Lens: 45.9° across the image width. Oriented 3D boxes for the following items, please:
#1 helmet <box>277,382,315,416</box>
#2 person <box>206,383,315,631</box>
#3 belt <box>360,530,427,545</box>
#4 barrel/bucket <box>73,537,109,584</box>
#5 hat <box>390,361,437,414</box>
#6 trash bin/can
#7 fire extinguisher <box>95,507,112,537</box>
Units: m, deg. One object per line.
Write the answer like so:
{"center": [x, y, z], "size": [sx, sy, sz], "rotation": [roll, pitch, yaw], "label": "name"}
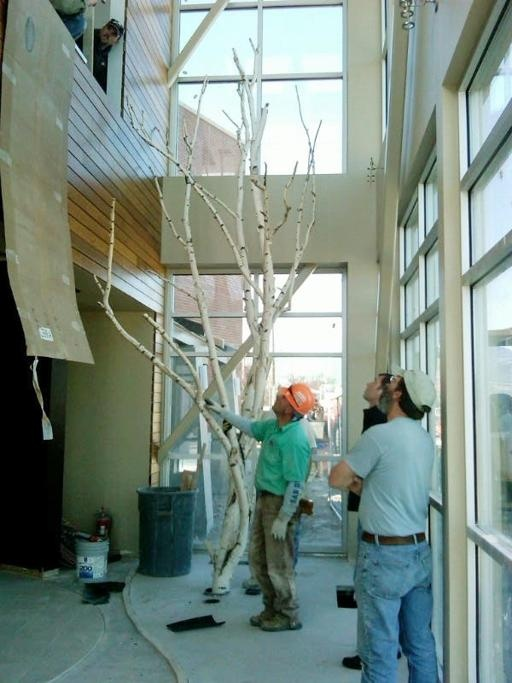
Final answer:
{"center": [0.245, 0.376, 3.857], "size": [0.211, 0.207, 0.222], "rotation": [1, -8, 2], "label": "helmet"}
{"center": [0.111, 1.063, 3.916], "size": [0.624, 1.542, 0.367], "rotation": [-6, -11, 40], "label": "person"}
{"center": [0.496, 0.727, 2.217], "size": [0.231, 0.041, 0.122], "rotation": [-1, -9, 12], "label": "belt"}
{"center": [-1.337, 1.815, 5.075], "size": [0.296, 0.369, 0.315], "rotation": [2, -4, 0], "label": "barrel/bucket"}
{"center": [0.597, 0.173, 2.372], "size": [0.129, 0.191, 0.106], "rotation": [-9, -24, -50], "label": "hat"}
{"center": [-0.829, 1.674, 5.512], "size": [0.531, 0.784, 0.524], "rotation": [0, 5, -13], "label": "trash bin/can"}
{"center": [-1.558, 1.862, 6.142], "size": [0.181, 0.299, 0.255], "rotation": [1, -8, -1], "label": "fire extinguisher"}
